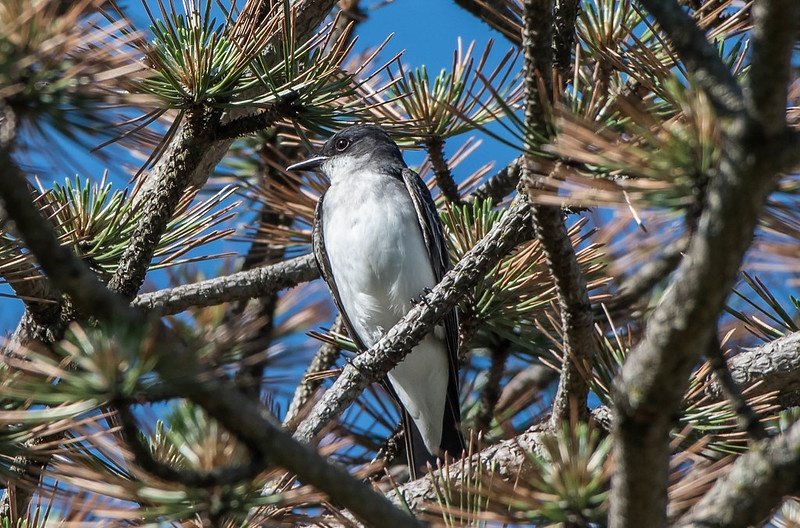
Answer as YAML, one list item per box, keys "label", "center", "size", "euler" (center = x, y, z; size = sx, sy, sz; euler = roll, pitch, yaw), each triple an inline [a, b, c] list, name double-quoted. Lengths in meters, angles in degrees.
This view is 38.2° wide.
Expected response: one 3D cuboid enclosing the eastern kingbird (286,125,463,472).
- label: "eastern kingbird"
  center: [-0.088, -0.003, 5.967]
  size: [0.642, 0.862, 2.023]
  euler: [-8, -70, 10]
